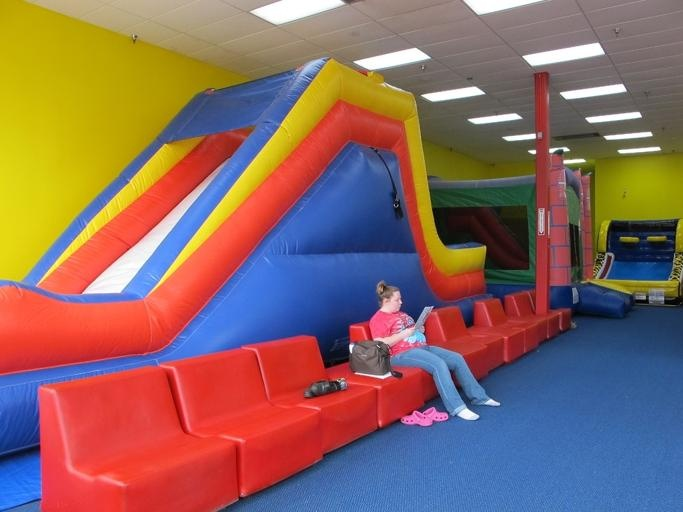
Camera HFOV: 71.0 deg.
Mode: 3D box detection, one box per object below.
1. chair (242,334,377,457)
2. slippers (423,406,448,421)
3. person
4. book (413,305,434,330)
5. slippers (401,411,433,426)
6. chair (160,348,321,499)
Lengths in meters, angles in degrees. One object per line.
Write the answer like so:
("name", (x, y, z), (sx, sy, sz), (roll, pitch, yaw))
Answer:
("chair", (-0.187, 0.827, 3.195), (0.684, 0.664, 0.668), (-4, 0, 37))
("slippers", (0.673, 1.106, 3.371), (0.124, 0.047, 0.085), (-2, 5, 5))
("person", (0.680, 0.679, 3.645), (0.986, 0.819, 0.468), (10, 17, 42))
("book", (0.749, 0.561, 4.344), (0.030, 0.292, 0.269), (34, 20, 26))
("slippers", (0.528, 1.123, 3.304), (0.141, 0.052, 0.100), (-2, -5, 16))
("chair", (-0.539, 0.845, 2.763), (0.708, 0.632, 0.690), (-1, 2, 39))
